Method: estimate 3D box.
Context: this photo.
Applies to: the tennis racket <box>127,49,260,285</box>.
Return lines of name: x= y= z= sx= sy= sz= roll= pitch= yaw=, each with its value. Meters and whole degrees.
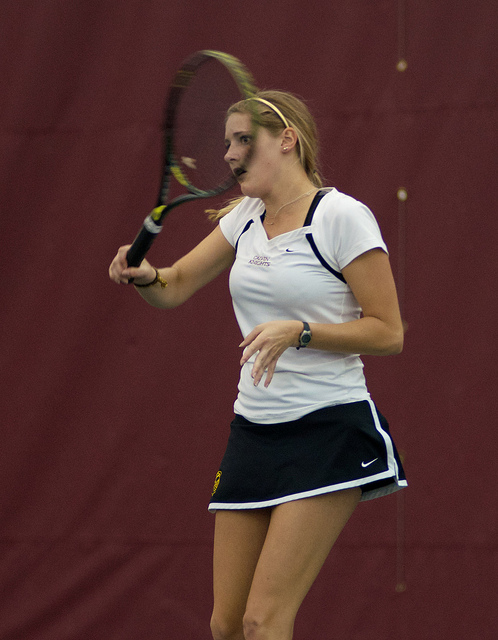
tennis racket: x=-0.177 y=-0.334 z=2.030 sx=0.048 sy=0.644 sz=0.265 roll=0 pitch=29 yaw=-49

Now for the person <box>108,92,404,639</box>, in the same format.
person: x=0.015 y=0.102 z=2.012 sx=0.446 sy=1.278 sz=0.703 roll=-4 pitch=20 yaw=-40

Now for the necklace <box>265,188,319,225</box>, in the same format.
necklace: x=0.101 y=-0.280 z=2.013 sx=0.153 sy=0.055 sz=0.008 roll=-30 pitch=-10 yaw=31

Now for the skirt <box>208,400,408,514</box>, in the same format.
skirt: x=0.131 y=0.313 z=2.002 sx=0.466 sy=0.253 sz=0.239 roll=-8 pitch=-12 yaw=20

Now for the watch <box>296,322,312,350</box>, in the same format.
watch: x=0.121 y=0.036 z=1.814 sx=0.031 sy=0.063 sz=0.035 roll=6 pitch=15 yaw=-13
